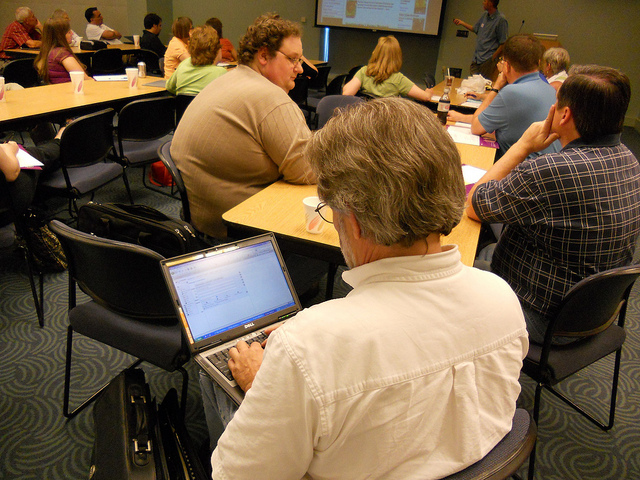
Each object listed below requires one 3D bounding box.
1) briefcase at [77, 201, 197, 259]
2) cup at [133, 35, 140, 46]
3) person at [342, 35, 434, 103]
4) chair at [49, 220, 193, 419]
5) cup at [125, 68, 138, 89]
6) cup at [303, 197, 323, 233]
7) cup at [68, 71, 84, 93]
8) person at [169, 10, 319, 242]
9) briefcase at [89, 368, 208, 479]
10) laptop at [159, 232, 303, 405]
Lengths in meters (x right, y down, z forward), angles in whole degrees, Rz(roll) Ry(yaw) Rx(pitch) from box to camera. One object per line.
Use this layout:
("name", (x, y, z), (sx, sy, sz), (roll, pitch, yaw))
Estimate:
("briefcase", (-0.773, -0.044, 1.922), (0.507, 0.163, 0.160), (9, 26, 10))
("cup", (-2.576, -2.746, 6.481), (0.054, 0.151, 0.375), (-6, 28, -20))
("person", (0.720, -1.690, 4.703), (0.878, 0.627, 0.497), (13, 27, 19))
("chair", (-0.760, 0.322, 1.797), (0.374, 0.735, 0.526), (15, 38, 7))
("cup", (-1.668, -1.419, 4.097), (0.080, 0.171, 0.272), (-7, 28, -20))
("cup", (-0.028, -0.096, 1.838), (0.099, 0.130, 0.100), (-1, 19, 0))
("cup", (-2.006, -1.299, 3.812), (0.089, 0.156, 0.352), (-10, 30, -27))
("person", (-0.377, -0.421, 2.472), (0.679, 1.374, 0.604), (-6, 26, -26))
("briefcase", (-0.560, 0.502, 1.456), (0.113, 0.431, 0.288), (-18, -25, 39))
("laptop", (-0.194, 0.177, 1.431), (0.456, 0.319, 0.432), (-17, 13, -42))
